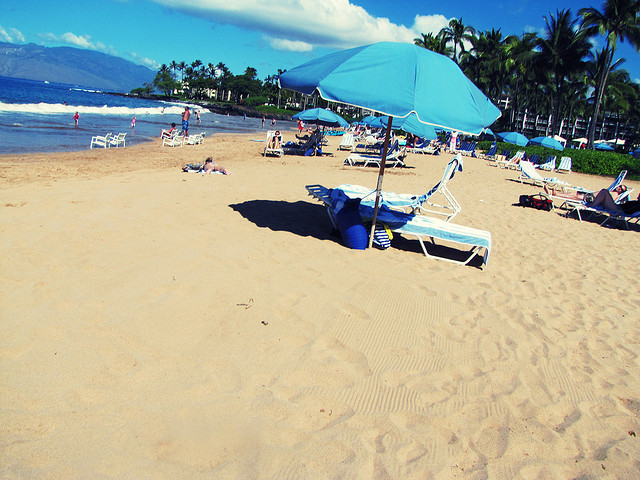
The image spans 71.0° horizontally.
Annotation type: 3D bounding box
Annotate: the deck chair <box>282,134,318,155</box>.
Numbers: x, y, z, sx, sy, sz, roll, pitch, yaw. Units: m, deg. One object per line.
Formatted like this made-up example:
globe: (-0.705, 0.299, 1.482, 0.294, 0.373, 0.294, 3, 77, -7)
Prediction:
deck chair: (-0.922, -4.258, 19.938, 1.080, 0.733, 0.795, -1, 11, -35)

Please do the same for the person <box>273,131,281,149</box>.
person: (-1.799, -4.108, 18.604, 0.328, 0.617, 0.834, 5, 19, -8)

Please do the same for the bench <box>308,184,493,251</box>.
bench: (1.525, -0.403, 8.682, 3.025, 0.540, 0.864, 15, 17, 3)

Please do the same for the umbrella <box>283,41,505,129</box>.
umbrella: (1.087, -2.147, 5.968, 2.712, 0.963, 1.469, 6, 19, -6)

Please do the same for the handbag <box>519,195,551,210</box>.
handbag: (6.060, -1.065, 12.562, 0.490, 0.307, 0.630, -15, 27, -39)

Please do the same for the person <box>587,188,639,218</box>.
person: (7.782, -0.919, 11.603, 1.236, 0.604, 0.954, 1, 20, -20)

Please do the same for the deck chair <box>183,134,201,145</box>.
deck chair: (-6.239, -4.836, 21.743, 0.543, 0.501, 0.742, -11, 18, -43)

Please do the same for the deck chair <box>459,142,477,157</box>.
deck chair: (9.642, -5.769, 28.576, 0.859, 1.109, 0.823, -8, 14, -28)

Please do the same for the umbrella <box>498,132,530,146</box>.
umbrella: (11.075, -5.545, 24.846, 1.270, 0.491, 1.290, 4, 18, -34)

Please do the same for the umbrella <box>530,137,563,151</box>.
umbrella: (13.294, -5.518, 25.682, 1.730, 0.617, 1.585, 4, 19, -11)

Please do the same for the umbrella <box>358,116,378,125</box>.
umbrella: (2.879, -7.054, 26.478, 1.222, 0.596, 1.797, -1, 20, 6)

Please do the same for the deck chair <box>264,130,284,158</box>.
deck chair: (-1.968, -4.021, 18.751, 0.688, 1.030, 1.997, 5, 19, -8)

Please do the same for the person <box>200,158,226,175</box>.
person: (-3.077, -2.072, 12.450, 0.514, 0.239, 0.720, -13, 30, -39)

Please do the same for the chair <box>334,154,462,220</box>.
chair: (1.704, -1.095, 9.133, 2.266, 1.404, 0.770, 9, 0, 32)
